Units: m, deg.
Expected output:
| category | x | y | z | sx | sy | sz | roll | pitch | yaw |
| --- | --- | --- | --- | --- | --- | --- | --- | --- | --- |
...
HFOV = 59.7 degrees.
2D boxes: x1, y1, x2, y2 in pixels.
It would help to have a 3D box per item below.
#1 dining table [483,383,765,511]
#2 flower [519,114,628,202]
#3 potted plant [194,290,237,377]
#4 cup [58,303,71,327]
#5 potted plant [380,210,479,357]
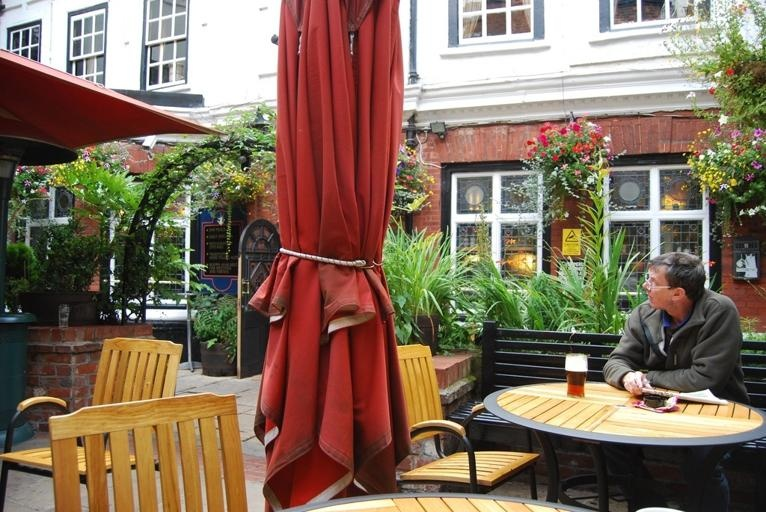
| category | x | y | z | sx | sy | sz | roll | pitch | yaw |
| --- | --- | --- | --- | --- | --- | --- | --- | --- | --- |
| dining table | 1.771 | 1.166 | 4.787 | 1.179 | 0.804 | 1.239 | -2 | 1 | -39 |
| flower | 2.713 | -1.394 | 9.455 | 1.145 | 1.118 | 1.169 | 0 | -2 | 38 |
| potted plant | -2.649 | 1.261 | 10.467 | 0.861 | 1.192 | 0.513 | -2 | -3 | 45 |
| cup | -3.614 | 0.671 | 7.489 | 0.124 | 0.252 | 0.336 | 1 | -2 | -26 |
| potted plant | 0.522 | 0.464 | 7.502 | 1.088 | 1.443 | 1.397 | 1 | -9 | 3 |
